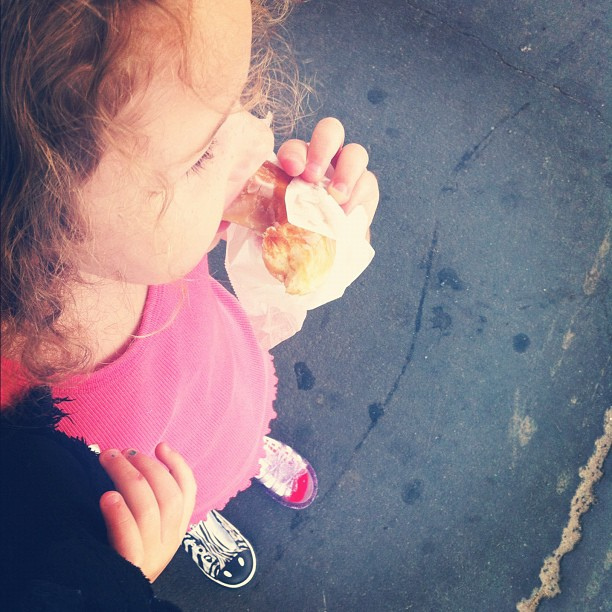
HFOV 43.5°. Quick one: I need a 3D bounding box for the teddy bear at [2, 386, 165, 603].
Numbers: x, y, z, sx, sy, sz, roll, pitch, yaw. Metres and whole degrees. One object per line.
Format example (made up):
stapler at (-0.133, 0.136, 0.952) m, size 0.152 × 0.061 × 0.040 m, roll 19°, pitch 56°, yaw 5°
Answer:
teddy bear at (-0.608, 0.565, 2.011) m, size 0.237 × 0.580 × 0.407 m, roll 5°, pitch 39°, yaw 12°
